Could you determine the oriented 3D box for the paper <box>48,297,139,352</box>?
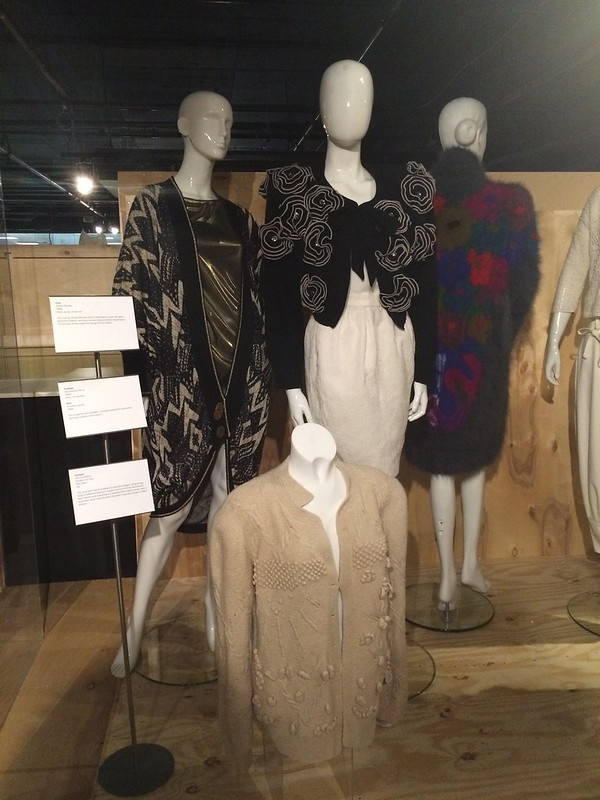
[{"bbox_3d":[-0.435,-0.160,1.579,0.143,0.091,0.005,-7,7,-35],"label":"paper"}]
